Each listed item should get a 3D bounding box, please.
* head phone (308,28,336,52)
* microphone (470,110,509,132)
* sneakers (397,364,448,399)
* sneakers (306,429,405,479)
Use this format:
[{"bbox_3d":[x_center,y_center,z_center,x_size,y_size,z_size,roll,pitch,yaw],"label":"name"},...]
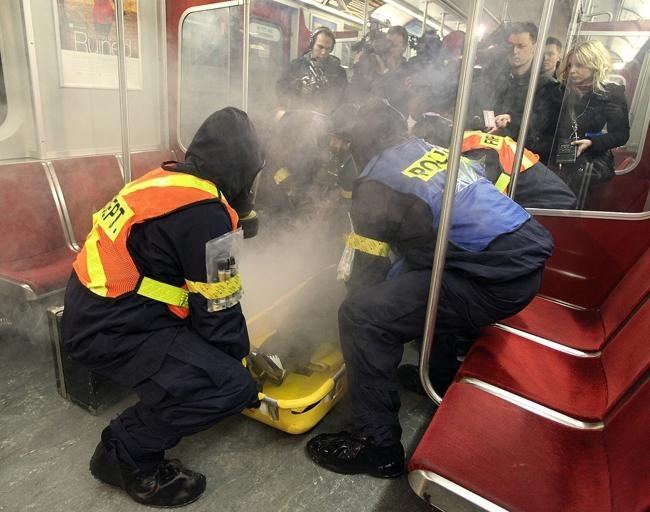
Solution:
[{"bbox_3d":[-0.028,-1.501,3.313,0.152,0.142,0.056,-2,27,-13],"label":"head phone"},{"bbox_3d":[1.011,-0.822,2.953,0.187,0.045,0.183,11,37,22],"label":"microphone"},{"bbox_3d":[0.557,0.651,2.635,0.101,0.243,0.332,-26,4,-23],"label":"sneakers"},{"bbox_3d":[0.145,0.893,2.243,0.476,0.211,0.186,10,31,9],"label":"sneakers"}]
